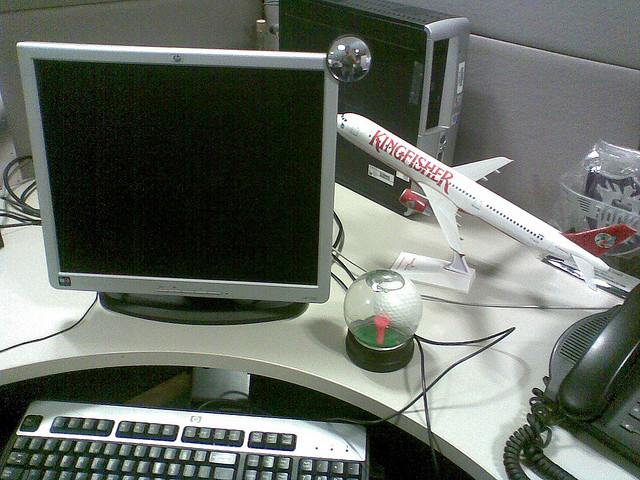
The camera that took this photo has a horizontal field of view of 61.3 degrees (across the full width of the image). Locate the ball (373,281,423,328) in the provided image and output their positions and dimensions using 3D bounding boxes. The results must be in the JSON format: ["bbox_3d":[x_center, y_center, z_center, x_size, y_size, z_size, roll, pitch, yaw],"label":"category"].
[{"bbox_3d":[0.118,0.103,0.914,0.079,0.069,0.073,24,50,-33],"label":"ball"}]

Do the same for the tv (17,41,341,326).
[{"bbox_3d":[-0.217,-0.084,0.854,0.435,0.403,0.173,2,26,-3],"label":"tv"}]
